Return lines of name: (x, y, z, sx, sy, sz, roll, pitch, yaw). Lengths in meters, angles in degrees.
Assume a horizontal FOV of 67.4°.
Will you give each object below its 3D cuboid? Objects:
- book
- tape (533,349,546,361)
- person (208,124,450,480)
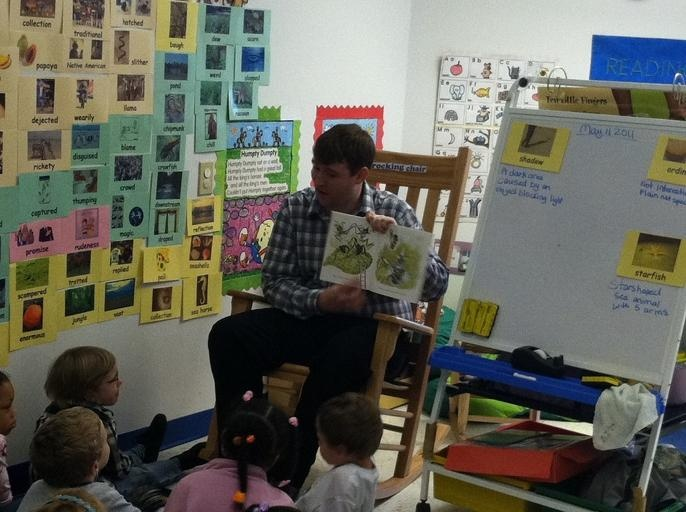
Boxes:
book: (0.119, 0.018, 1.817, 0.294, 0.210, 0.016, 15, 12, 19)
tape: (0.666, 0.333, 1.718, 0.042, 0.018, 0.044, 15, 13, 36)
person: (-0.101, 0.170, 1.913, 0.709, 1.272, 0.866, 8, 7, 36)
